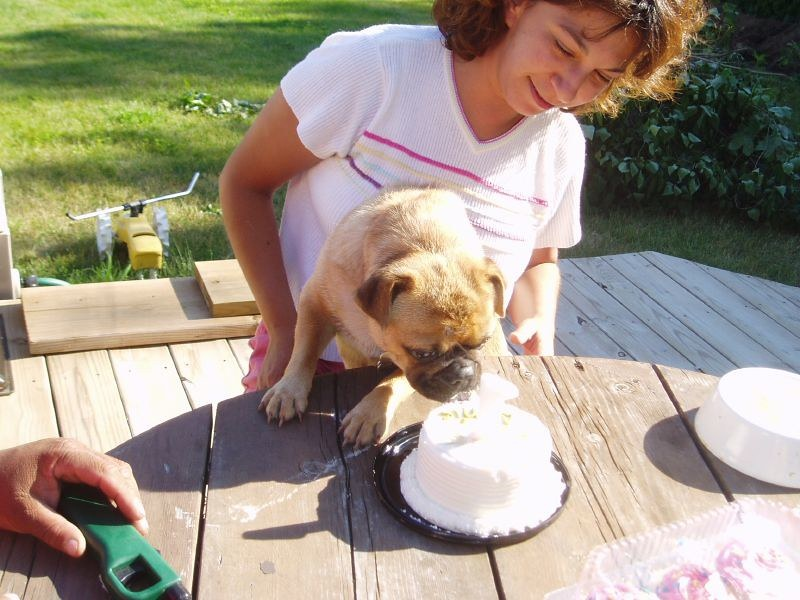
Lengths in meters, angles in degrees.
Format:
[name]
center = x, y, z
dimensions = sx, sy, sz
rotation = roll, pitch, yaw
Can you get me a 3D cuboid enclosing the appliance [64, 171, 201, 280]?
[appliance]
center = -2.450, -0.426, 6.149
dimensions = 1.060, 0.851, 1.217
rotation = -17, 43, -25
